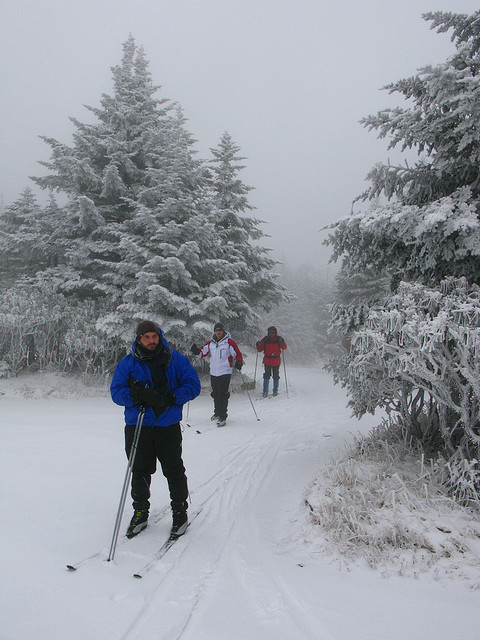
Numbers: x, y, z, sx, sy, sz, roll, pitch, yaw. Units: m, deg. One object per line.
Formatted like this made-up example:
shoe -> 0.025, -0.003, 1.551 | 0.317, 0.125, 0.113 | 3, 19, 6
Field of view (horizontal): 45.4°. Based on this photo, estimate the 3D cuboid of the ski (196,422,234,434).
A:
ski -> -0.441, 1.753, 9.440 | 0.145, 0.124, 0.852 | 9, 0, 35

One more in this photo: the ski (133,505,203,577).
ski -> -0.604, 1.890, 5.014 | 0.120, 0.059, 1.158 | 7, 5, 13

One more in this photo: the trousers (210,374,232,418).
trousers -> -0.341, 1.321, 10.003 | 0.292, 0.765, 0.449 | 1, 5, -21

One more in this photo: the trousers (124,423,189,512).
trousers -> -0.764, 1.341, 5.244 | 0.480, 0.308, 1.020 | 0, 33, -16

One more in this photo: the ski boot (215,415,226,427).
ski boot -> -0.329, 1.715, 9.713 | 0.078, 0.174, 0.250 | -2, -12, 13

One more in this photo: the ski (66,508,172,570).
ski -> -1.014, 1.923, 5.073 | 0.227, 0.188, 1.182 | 12, 10, 33

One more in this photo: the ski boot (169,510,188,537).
ski boot -> -0.546, 1.807, 5.116 | 0.121, 0.218, 0.208 | 1, 1, 11

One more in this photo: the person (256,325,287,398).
person -> 0.776, 1.088, 14.847 | 0.705, 1.860, 1.556 | 3, 4, 4

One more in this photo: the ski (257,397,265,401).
ski -> 0.494, 1.908, 13.917 | 0.091, 0.051, 0.466 | 3, 4, 11

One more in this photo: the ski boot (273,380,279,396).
ski boot -> 0.886, 1.726, 14.586 | 0.105, 0.370, 0.218 | 2, 4, -5
